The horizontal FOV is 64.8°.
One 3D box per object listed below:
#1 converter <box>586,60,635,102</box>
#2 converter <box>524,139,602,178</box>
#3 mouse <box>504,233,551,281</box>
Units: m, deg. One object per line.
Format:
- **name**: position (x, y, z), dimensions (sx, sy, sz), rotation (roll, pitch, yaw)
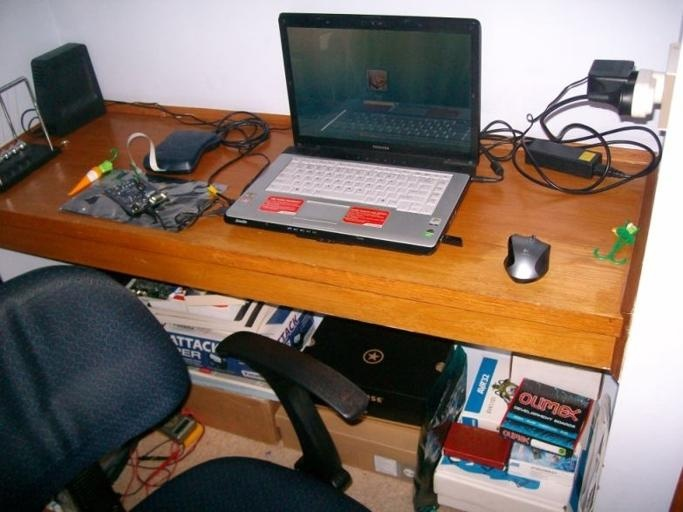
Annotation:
- **converter**: position (0.634, -0.419, 1.262), dimensions (0.095, 0.077, 0.156), rotation (16, 38, 23)
- **converter**: position (0.552, -0.223, 1.352), dimensions (0.262, 0.065, 0.083), rotation (15, 51, 32)
- **mouse**: position (0.383, 0.007, 1.106), dimensions (0.089, 0.071, 0.090), rotation (12, 37, 18)
